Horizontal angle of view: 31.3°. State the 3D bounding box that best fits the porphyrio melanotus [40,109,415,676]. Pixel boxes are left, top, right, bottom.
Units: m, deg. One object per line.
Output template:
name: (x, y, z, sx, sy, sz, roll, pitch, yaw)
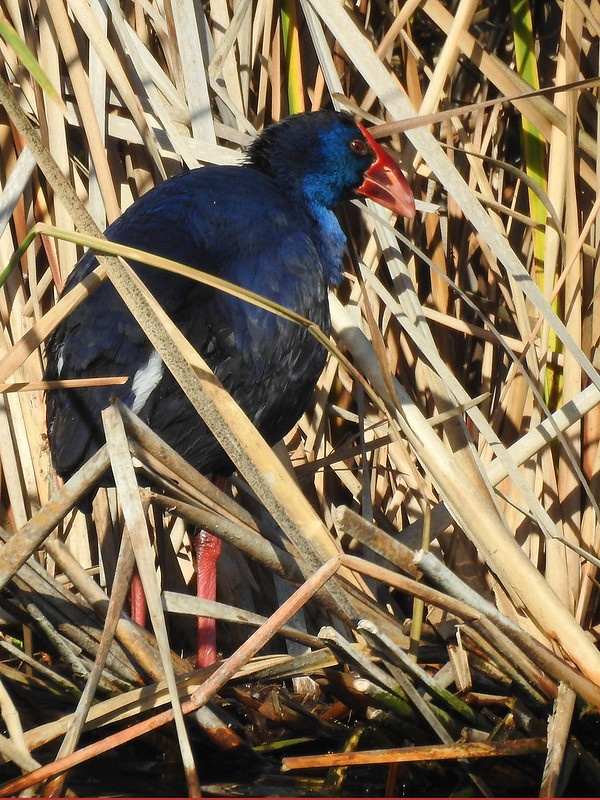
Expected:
porphyrio melanotus: (-0.196, -0.186, 2.244, 0.819, 1.140, 0.574, 21, -46, -30)
